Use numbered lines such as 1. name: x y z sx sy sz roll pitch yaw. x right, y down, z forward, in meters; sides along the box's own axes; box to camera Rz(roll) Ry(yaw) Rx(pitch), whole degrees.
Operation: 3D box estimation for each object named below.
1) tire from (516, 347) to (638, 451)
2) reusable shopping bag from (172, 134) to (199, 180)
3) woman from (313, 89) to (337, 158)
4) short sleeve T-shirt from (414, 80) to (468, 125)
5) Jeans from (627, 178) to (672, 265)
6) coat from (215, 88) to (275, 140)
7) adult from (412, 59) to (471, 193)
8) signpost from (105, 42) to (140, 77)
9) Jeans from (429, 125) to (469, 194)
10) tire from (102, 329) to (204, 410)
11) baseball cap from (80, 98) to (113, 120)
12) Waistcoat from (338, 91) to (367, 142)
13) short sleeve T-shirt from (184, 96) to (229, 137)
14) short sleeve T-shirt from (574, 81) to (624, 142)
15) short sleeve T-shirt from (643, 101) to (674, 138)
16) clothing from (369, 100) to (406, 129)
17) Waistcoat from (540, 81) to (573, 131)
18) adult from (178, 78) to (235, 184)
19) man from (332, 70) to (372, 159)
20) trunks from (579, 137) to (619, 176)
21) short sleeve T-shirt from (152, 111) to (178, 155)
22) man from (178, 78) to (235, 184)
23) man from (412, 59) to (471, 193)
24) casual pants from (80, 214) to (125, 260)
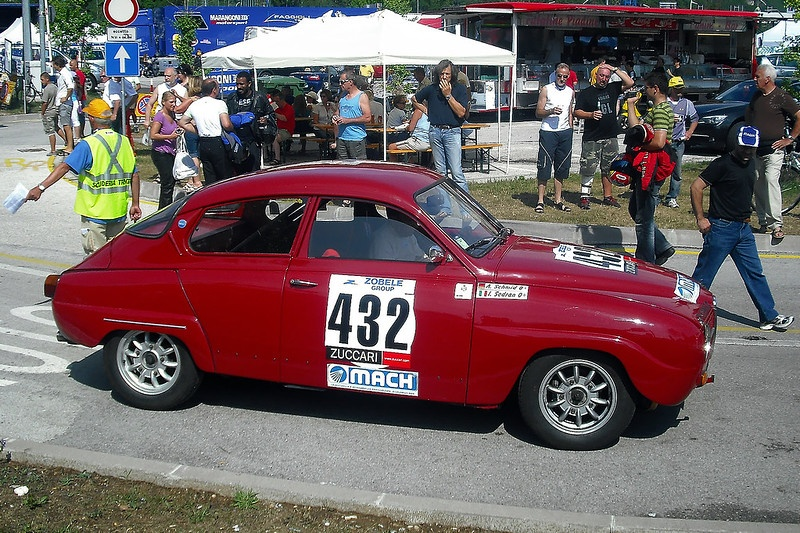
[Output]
1. tire: 1.527 1.094 5.941 0.620 0.642 0.208 -36 0 12
2. reusable shopping bag: -3.723 -1.874 11.814 0.376 0.846 0.433 -6 34 -41
3. woman: -1.855 -3.592 17.489 0.561 1.702 0.932 1 25 -2
4. short sleeve T-shirt: 0.792 -3.247 12.930 1.216 1.040 0.676 1 17 6
5. Jeans: 3.609 -0.622 10.006 0.577 1.492 0.408 -9 59 12
6. coat: -2.778 -2.708 12.744 0.988 1.050 0.532 1 5 2
7. adult: 0.734 -2.470 12.932 0.999 2.656 0.787 5 21 17
8. signpost: -5.645 -4.208 14.072 0.677 0.744 0.050 0 9 -13
9. Jeans: 0.909 -2.091 13.081 0.717 1.683 0.433 0 40 7
10. tire: -2.305 0.935 6.485 0.638 0.704 0.220 -7 2 10
11. baseball cap: -3.632 -1.884 8.290 0.293 0.168 0.201 33 36 33
12. Waistcoat: -0.917 -2.930 13.513 0.702 1.039 0.543 8 17 31
13. short sleeve T-shirt: -3.146 -2.438 11.351 0.802 0.664 0.380 6 27 6
14. short sleeve T-shirt: 3.756 -2.864 12.946 1.139 1.171 0.461 -7 9 -5
15. short sleeve T-shirt: 3.668 -2.069 9.830 0.372 0.551 0.708 -1 16 6
16. clothing: -0.339 -3.629 16.738 0.947 0.474 0.652 5 25 6
17. Waistcoat: 2.963 -2.963 12.959 0.575 0.843 0.301 -3 18 -5
18. adult: -3.192 -2.067 11.633 0.847 2.079 0.784 2 29 -6
19. man: -1.013 -2.655 13.709 0.759 2.215 0.667 14 25 22
20. trunks: 3.855 -1.956 13.178 0.684 0.482 1.516 -2 31 20
21. short sleeve T-shirt: -4.100 -2.313 12.058 0.335 0.614 0.618 2 22 -6
22. man: -3.188 -2.039 11.614 0.812 2.016 0.774 1 27 -7
23. man: 0.749 -2.478 12.965 0.962 2.677 0.855 8 23 26
24. casual pants: -3.287 -0.339 7.661 0.185 0.618 0.308 9 24 18
